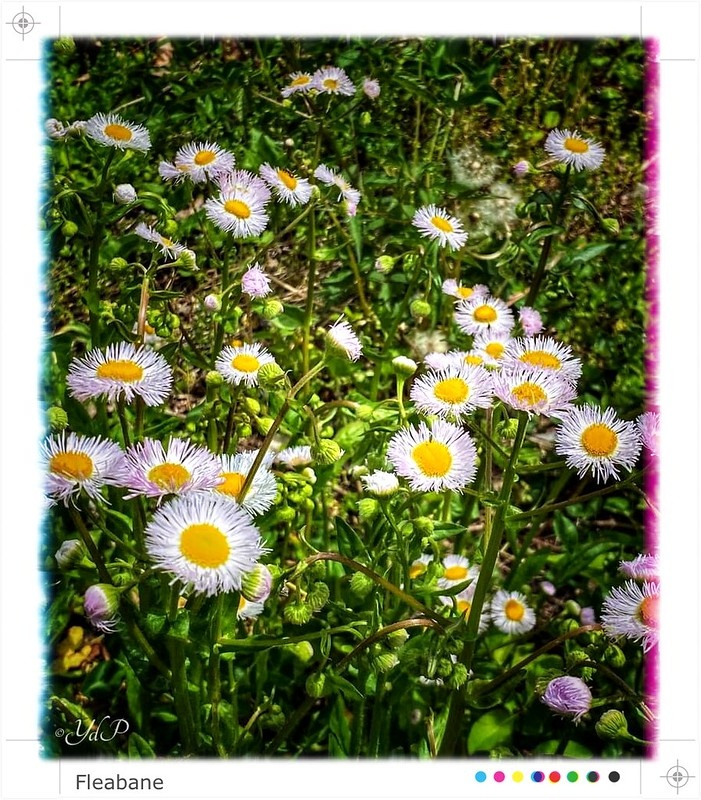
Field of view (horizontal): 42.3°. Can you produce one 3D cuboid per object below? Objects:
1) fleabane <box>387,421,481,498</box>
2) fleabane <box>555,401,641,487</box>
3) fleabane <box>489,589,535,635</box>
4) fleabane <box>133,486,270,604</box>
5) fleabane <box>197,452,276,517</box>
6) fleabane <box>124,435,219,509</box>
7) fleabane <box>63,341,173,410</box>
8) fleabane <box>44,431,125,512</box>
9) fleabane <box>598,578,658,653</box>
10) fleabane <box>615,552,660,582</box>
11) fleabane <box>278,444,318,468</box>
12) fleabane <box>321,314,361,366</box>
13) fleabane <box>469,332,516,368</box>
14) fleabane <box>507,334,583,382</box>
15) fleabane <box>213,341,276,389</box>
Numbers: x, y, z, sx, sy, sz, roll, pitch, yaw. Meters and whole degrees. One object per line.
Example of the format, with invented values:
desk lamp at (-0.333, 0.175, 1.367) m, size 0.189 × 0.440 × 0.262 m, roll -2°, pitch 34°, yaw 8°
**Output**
fleabane at (0.143, 0.087, 1.619) m, size 0.147 × 0.057 × 0.140 m, roll 7°, pitch 38°, yaw 24°
fleabane at (0.460, 0.066, 1.681) m, size 0.157 × 0.055 × 0.150 m, roll 6°, pitch 28°, yaw -5°
fleabane at (0.398, 0.528, 2.253) m, size 0.116 × 0.055 × 0.103 m, roll 28°, pitch 53°, yaw 13°
fleabane at (-0.220, 0.211, 1.375) m, size 0.166 × 0.051 × 0.141 m, roll 22°, pitch 51°, yaw 9°
fleabane at (-0.210, 0.142, 1.637) m, size 0.161 × 0.057 × 0.142 m, roll -16°, pitch 26°, yaw -20°
fleabane at (-0.282, 0.112, 1.458) m, size 0.131 × 0.050 × 0.117 m, roll -9°, pitch 46°, yaw -29°
fleabane at (-0.399, -0.044, 1.601) m, size 0.152 × 0.059 × 0.153 m, roll -11°, pitch 32°, yaw -41°
fleabane at (-0.450, 0.106, 1.479) m, size 0.152 × 0.059 × 0.129 m, roll -2°, pitch 20°, yaw -12°
fleabane at (0.517, 0.397, 1.677) m, size 0.117 × 0.050 × 0.119 m, roll -5°, pitch 57°, yaw 33°
fleabane at (0.550, 0.312, 1.720) m, size 0.063 × 0.033 × 0.058 m, roll 2°, pitch -2°, yaw -14°
fleabane at (-0.108, 0.113, 1.821) m, size 0.053 × 0.026 × 0.053 m, roll -13°, pitch 18°, yaw -43°
fleabane at (-0.008, -0.102, 1.640) m, size 0.080 × 0.039 × 0.074 m, roll 10°, pitch 49°, yaw -51°
fleabane at (0.305, -0.115, 1.956) m, size 0.098 × 0.032 × 0.087 m, roll -6°, pitch 42°, yaw 0°
fleabane at (0.371, -0.074, 1.716) m, size 0.126 × 0.049 × 0.115 m, roll -19°, pitch 52°, yaw -13°
fleabane at (-0.224, -0.078, 1.898) m, size 0.109 × 0.040 × 0.115 m, roll -28°, pitch 55°, yaw -30°
